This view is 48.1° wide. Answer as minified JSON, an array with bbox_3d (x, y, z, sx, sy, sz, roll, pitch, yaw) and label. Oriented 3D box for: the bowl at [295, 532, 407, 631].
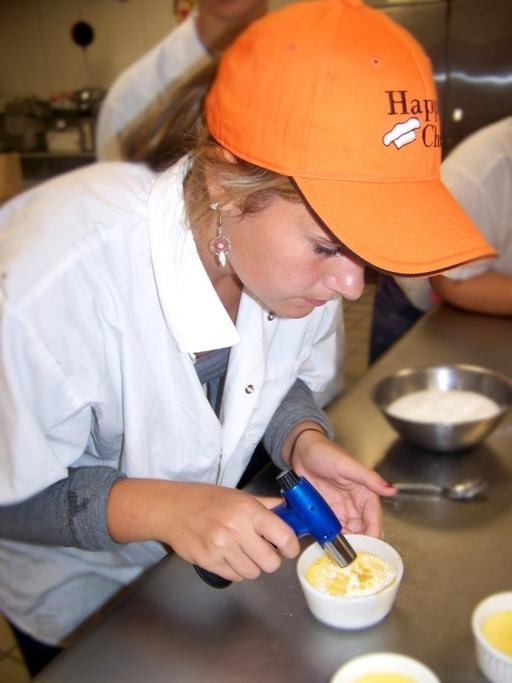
[{"bbox_3d":[0.110,0.277,0.661,0.119,0.050,0.111,-4,15,1],"label":"bowl"}]
